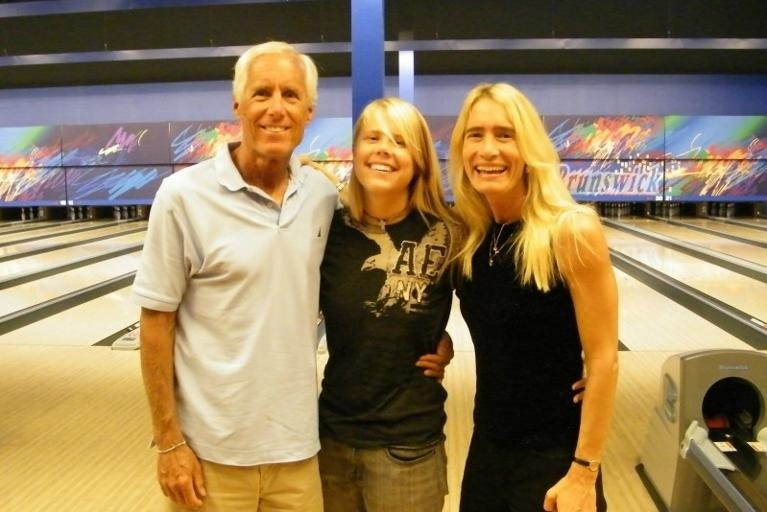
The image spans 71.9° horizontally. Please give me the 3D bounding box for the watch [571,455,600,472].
[{"bbox_3d":[0.610,0.606,1.563,0.051,0.019,0.050,21,-17,-41],"label":"watch"}]

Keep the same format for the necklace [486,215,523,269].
[{"bbox_3d":[0.361,-0.048,1.643,0.096,0.137,0.037,6,-3,27],"label":"necklace"}]

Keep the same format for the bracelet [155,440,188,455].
[{"bbox_3d":[-0.625,0.572,1.585,0.082,0.040,0.020,0,6,-18],"label":"bracelet"}]
